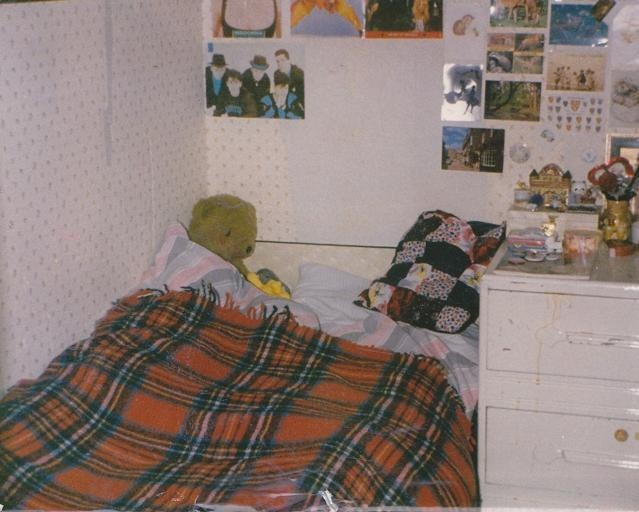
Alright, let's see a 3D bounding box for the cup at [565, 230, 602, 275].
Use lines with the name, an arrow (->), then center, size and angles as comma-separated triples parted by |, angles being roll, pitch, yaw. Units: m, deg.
cup -> 1.038, -0.024, 2.548 | 0.149, 0.184, 0.169 | -1, 9, 4
